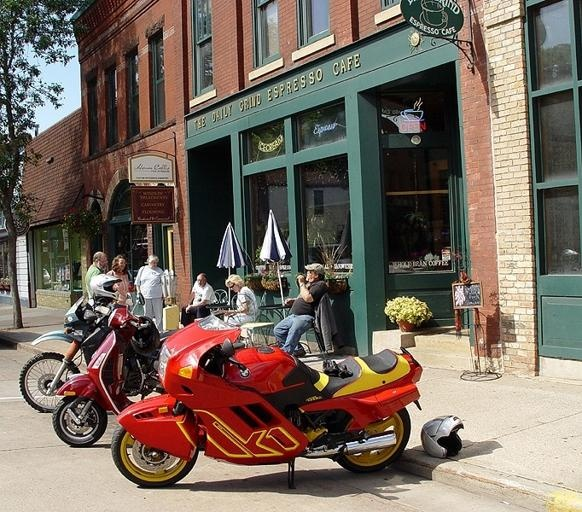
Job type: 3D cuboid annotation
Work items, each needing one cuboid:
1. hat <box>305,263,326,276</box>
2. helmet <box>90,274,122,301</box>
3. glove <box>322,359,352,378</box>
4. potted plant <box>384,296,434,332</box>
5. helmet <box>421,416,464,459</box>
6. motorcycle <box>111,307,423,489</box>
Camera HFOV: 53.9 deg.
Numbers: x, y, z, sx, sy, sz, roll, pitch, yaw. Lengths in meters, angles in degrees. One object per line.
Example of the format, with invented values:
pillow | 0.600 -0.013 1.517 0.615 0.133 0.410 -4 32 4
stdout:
hat | 0.454 0.245 10.673 0.247 0.135 0.182 6 -2 24
helmet | -2.295 0.380 6.992 0.349 0.297 0.275 0 2 8
glove | 0.406 1.002 5.080 0.191 0.079 0.124 13 -1 24
potted plant | 1.966 0.890 9.712 0.660 0.488 0.621 0 0 -36
helmet | 1.394 1.605 5.115 0.283 0.332 0.354 4 2 -36
motorcycle | -0.206 1.172 5.189 2.727 1.532 1.258 2 -3 -6
